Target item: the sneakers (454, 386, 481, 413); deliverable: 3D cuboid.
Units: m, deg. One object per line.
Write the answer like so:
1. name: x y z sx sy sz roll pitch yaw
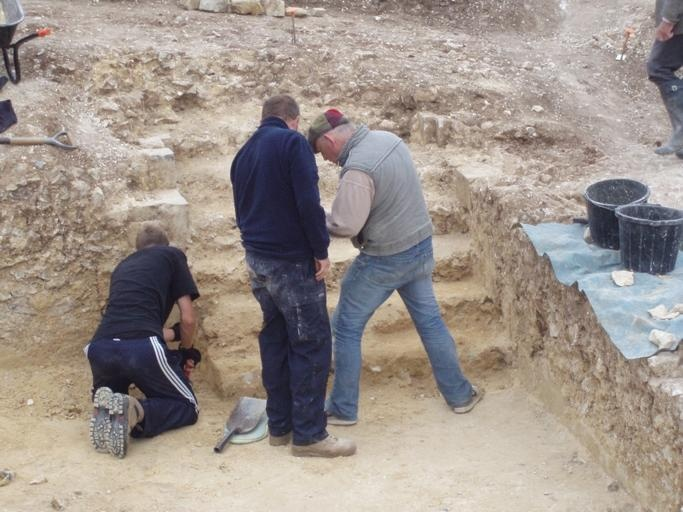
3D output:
1. sneakers: 1.115 1.231 9.874 0.129 0.144 0.332 3 33 31

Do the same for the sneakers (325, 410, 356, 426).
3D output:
1. sneakers: -0.015 1.396 9.718 0.283 0.121 0.103 7 8 -2

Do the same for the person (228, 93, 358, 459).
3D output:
1. person: -0.406 0.320 9.185 0.839 2.674 0.541 1 17 13

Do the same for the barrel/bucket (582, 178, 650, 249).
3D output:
1. barrel/bucket: 2.451 -0.348 9.884 0.611 0.506 0.599 -3 39 3

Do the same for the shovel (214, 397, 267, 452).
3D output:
1. shovel: -0.845 1.425 9.638 0.251 0.090 0.513 1 28 27

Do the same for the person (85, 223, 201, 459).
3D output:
1. person: -1.706 0.770 9.587 0.747 1.519 1.252 8 19 34
